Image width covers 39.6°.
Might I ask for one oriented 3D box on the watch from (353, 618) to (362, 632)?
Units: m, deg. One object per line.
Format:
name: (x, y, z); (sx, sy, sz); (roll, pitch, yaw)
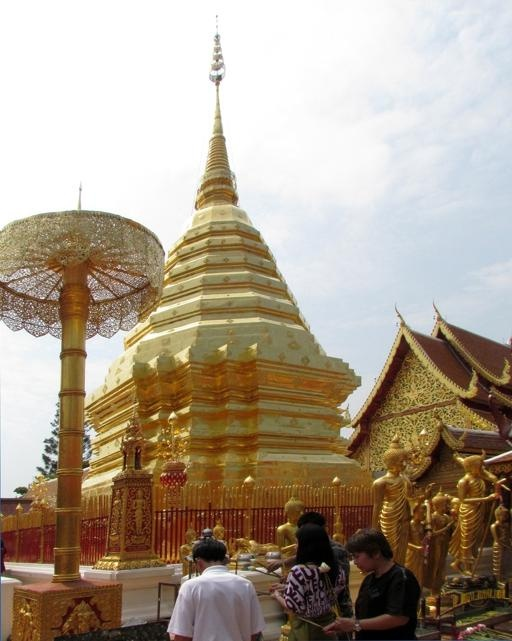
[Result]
watch: (0.474, 1.436, 3.339); (0.036, 0.053, 0.046); (-5, -21, 4)
